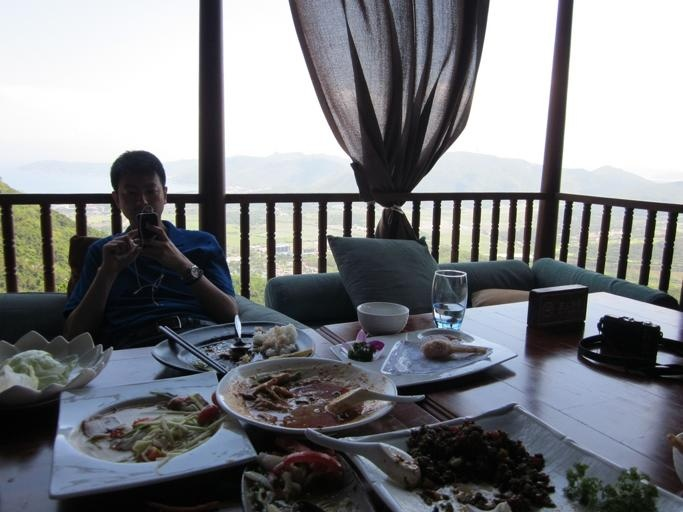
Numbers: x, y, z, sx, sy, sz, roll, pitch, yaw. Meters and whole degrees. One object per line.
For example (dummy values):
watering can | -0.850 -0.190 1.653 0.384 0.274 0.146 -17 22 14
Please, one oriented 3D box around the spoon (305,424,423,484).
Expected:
spoon | 0.010 0.355 0.868 0.267 0.055 0.073 16 -3 7

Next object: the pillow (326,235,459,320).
pillow | 0.233 0.107 2.412 0.635 0.393 0.253 2 -18 -19

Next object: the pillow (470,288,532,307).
pillow | 0.878 0.232 2.597 0.233 0.049 0.198 -3 4 0

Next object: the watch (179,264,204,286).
watch | -0.611 0.077 1.926 0.090 0.045 0.085 5 -26 -44

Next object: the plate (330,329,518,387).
plate | 0.254 0.286 1.266 0.263 0.030 0.202 -5 11 -21

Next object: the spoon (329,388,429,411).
spoon | 0.072 0.303 0.990 0.136 0.021 0.086 -4 -6 6

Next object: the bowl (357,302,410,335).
bowl | 0.135 0.186 1.497 0.136 0.057 0.127 0 4 0

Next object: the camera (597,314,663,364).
camera | 0.919 0.249 1.439 0.145 0.110 0.185 -5 2 -32

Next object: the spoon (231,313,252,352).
spoon | -0.302 0.241 1.410 0.044 0.022 0.157 -1 35 -20

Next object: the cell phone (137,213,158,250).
cell phone | -0.741 -0.106 1.796 0.070 0.134 0.111 -7 13 -23
